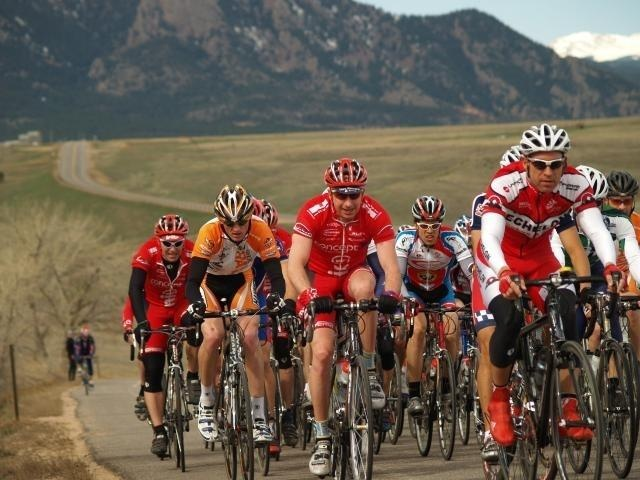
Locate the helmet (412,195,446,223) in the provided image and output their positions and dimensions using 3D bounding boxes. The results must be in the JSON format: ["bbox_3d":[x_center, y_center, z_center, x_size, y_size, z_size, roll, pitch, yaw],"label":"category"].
[{"bbox_3d":[1.612,-0.455,14.917,0.459,0.426,0.451,-2,-6,5],"label":"helmet"}]

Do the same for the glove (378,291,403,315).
[{"bbox_3d":[0.858,0.787,12.205,0.250,0.264,0.382,-4,-7,23],"label":"glove"}]

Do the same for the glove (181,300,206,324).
[{"bbox_3d":[-1.656,0.977,12.907,0.402,0.327,0.197,-5,-7,32],"label":"glove"}]

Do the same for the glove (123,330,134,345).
[{"bbox_3d":[-2.759,1.416,14.333,0.133,0.214,0.415,1,-7,-15],"label":"glove"}]

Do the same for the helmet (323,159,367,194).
[{"bbox_3d":[0.324,-0.781,12.542,0.335,0.230,0.529,0,27,0],"label":"helmet"}]

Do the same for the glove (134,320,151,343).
[{"bbox_3d":[-2.538,1.319,14.219,0.250,0.322,0.222,2,-7,-26],"label":"glove"}]

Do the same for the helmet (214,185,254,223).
[{"bbox_3d":[-1.138,-0.464,13.215,0.505,0.543,0.301,0,-6,-5],"label":"helmet"}]

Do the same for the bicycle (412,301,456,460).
[{"bbox_3d":[1.667,2.040,14.275,0.547,2.228,1.323,1,-6,-14],"label":"bicycle"}]

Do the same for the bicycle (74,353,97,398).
[{"bbox_3d":[-6.289,3.645,26.669,0.635,0.890,1.380,-6,-5,-11],"label":"bicycle"}]

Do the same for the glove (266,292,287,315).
[{"bbox_3d":[-0.555,0.826,12.778,0.178,0.275,0.234,-3,3,-8],"label":"glove"}]

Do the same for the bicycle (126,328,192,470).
[{"bbox_3d":[-2.290,2.314,14.550,0.778,2.064,1.551,0,-6,-8],"label":"bicycle"}]

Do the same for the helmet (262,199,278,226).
[{"bbox_3d":[-0.825,-0.446,15.467,0.134,0.376,0.275,-42,-30,13],"label":"helmet"}]

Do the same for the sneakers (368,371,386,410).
[{"bbox_3d":[0.734,1.973,12.889,0.242,0.184,0.479,4,28,-8],"label":"sneakers"}]

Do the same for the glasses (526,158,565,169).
[{"bbox_3d":[2.677,-0.891,11.792,0.407,0.143,0.102,-2,-6,8],"label":"glasses"}]
